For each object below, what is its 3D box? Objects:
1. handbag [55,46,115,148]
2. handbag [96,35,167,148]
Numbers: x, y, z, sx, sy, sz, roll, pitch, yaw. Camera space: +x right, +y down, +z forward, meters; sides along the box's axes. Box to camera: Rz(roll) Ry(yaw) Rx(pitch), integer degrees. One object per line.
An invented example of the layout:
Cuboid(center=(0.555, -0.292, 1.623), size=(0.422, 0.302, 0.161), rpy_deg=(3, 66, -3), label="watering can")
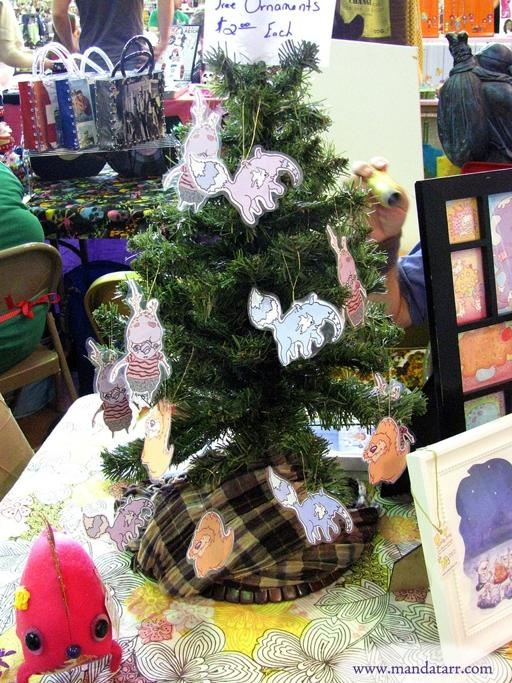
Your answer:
Cuboid(center=(-0.590, -0.866, 1.841), size=(0.230, 0.286, 0.172), rpy_deg=(14, 31, 38), label="handbag")
Cuboid(center=(-0.462, -0.873, 1.826), size=(0.141, 0.306, 0.321), rpy_deg=(19, 37, 17), label="handbag")
